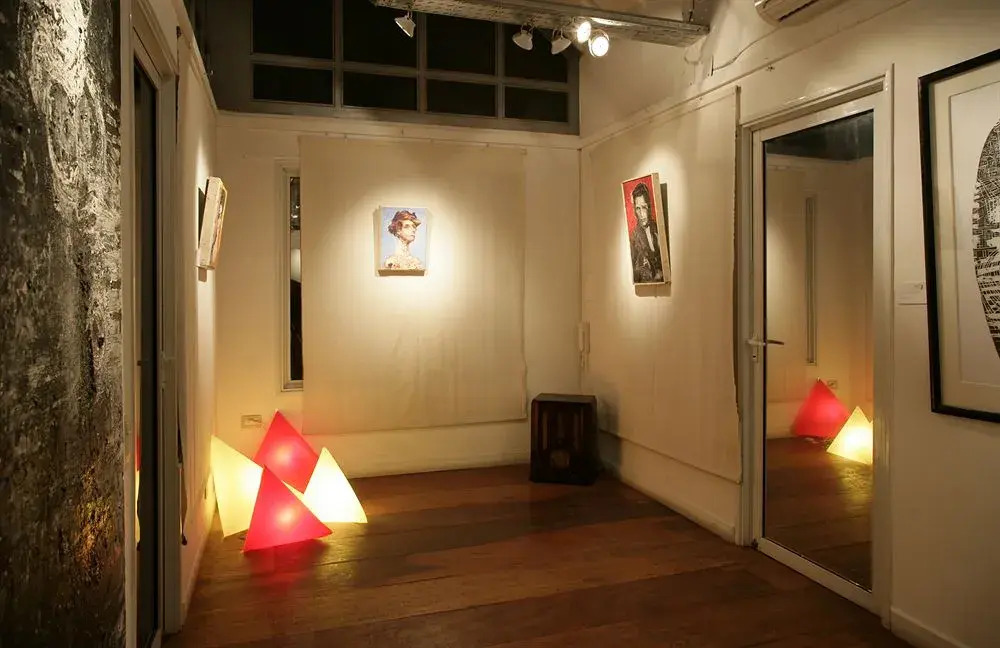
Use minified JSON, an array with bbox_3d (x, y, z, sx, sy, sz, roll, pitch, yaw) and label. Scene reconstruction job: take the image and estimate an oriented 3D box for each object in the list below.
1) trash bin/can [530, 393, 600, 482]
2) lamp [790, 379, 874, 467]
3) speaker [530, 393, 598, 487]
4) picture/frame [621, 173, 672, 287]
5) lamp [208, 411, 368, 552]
[{"bbox_3d":[0.481,1.037,6.545,0.665,0.955,0.682,1,-4,-9],"label":"trash bin/can"},{"bbox_3d":[2.031,0.610,4.366,0.392,0.369,0.401,-3,17,6],"label":"lamp"},{"bbox_3d":[0.575,1.188,6.461,0.600,0.797,0.642,-4,-35,12],"label":"speaker"},{"bbox_3d":[1.206,-0.758,5.763,0.153,0.931,0.608,-3,10,-15],"label":"picture/frame"},{"bbox_3d":[-1.656,1.211,5.268,0.908,0.441,0.906,17,13,-38],"label":"lamp"}]
